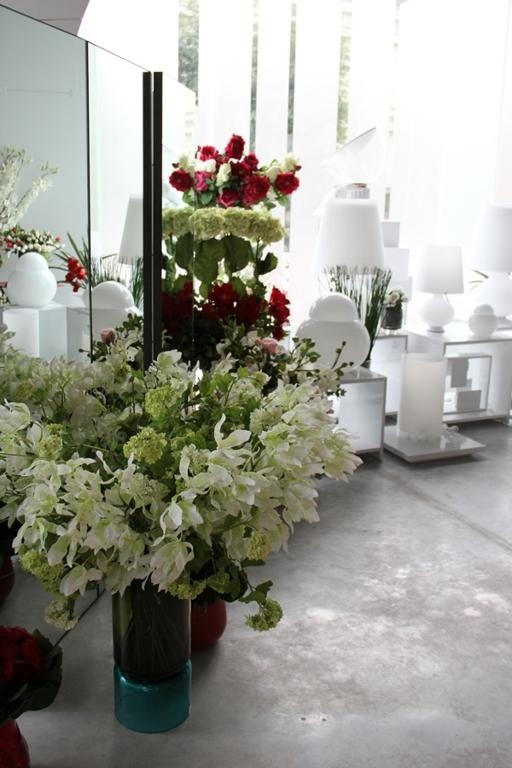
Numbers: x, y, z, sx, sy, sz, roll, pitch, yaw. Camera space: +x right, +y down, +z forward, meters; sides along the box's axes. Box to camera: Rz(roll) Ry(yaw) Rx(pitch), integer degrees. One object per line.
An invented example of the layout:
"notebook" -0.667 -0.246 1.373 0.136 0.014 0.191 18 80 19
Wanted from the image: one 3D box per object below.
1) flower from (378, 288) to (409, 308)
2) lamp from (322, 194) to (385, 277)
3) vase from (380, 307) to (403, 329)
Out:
"flower" 0.862 -0.540 3.548 0.207 0.124 0.077 -2 9 -44
"lamp" 0.486 -0.763 2.860 0.358 0.335 0.337 7 17 30
"vase" 0.852 -0.414 3.547 0.134 0.148 0.134 0 4 -1
